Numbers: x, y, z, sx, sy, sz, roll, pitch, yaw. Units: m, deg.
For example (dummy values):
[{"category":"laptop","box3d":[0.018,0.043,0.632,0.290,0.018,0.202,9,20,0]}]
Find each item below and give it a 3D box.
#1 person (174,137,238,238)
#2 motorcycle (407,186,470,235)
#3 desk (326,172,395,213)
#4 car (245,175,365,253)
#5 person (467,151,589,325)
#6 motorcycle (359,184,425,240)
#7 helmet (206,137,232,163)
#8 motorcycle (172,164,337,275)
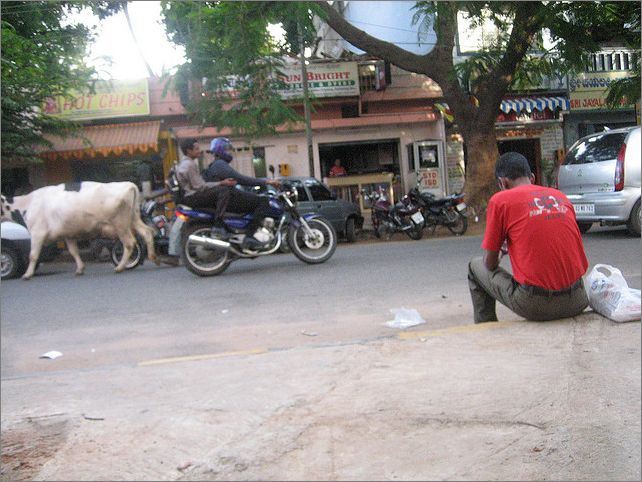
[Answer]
[{"category":"person","box3d":[-1.923,-0.990,10.869,0.689,1.411,1.130,-9,9,-38]},{"category":"motorcycle","box3d":[2.828,-0.821,16.333,0.917,1.177,1.984,-21,17,-30]},{"category":"desk","box3d":[1.178,-1.254,21.196,2.099,1.384,1.134,-3,-7,-10]},{"category":"car","box3d":[0.008,-0.733,15.894,2.320,1.201,1.270,-4,4,-21]},{"category":"person","box3d":[1.872,0.143,6.085,1.023,1.302,0.393,-1,7,20]},{"category":"motorcycle","box3d":[1.774,-0.732,16.444,0.748,1.253,1.971,-28,21,-26]},{"category":"helmet","box3d":[-1.718,-1.559,11.278,0.422,0.409,0.321,-5,8,-23]},{"category":"motorcycle","box3d":[-0.940,-0.274,11.589,2.990,1.955,1.294,-6,6,-12]}]
